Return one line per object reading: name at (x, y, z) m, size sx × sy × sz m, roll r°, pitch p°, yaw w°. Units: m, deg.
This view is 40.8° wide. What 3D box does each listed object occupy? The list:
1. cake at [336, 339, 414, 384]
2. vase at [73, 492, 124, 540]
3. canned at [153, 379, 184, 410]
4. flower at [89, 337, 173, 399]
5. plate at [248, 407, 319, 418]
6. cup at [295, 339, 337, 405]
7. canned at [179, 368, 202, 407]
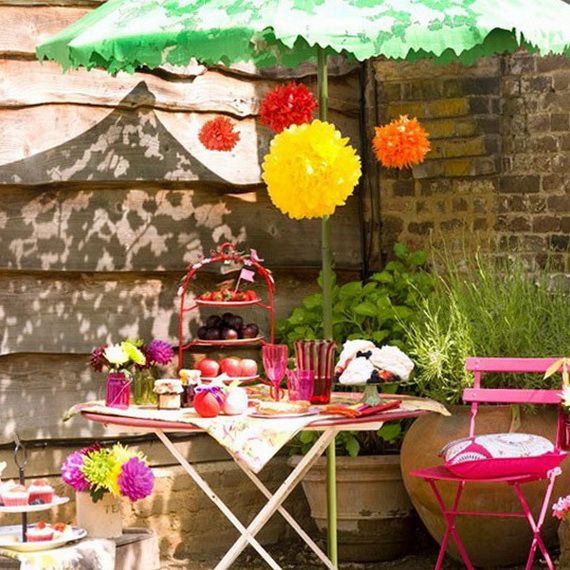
cake at (0.345, 0.278, 2.967) m, size 0.272 × 0.157 × 0.222 m, roll 1°, pitch 2°, yaw 27°
vase at (-0.807, 0.991, 3.306) m, size 0.212 × 0.191 × 0.198 m, roll -14°, pitch -18°, yaw 30°
canned at (-0.429, 0.404, 2.857) m, size 0.124 × 0.103 × 0.111 m, roll 1°, pitch -6°, yaw -19°
flower at (-0.620, 0.287, 3.241) m, size 0.415 × 0.316 × 0.350 m, roll 2°, pitch -7°, yaw -27°
plate at (-0.001, 0.447, 2.704) m, size 0.245 × 0.027 × 0.168 m, roll -3°, pitch 1°, yaw -5°
cup at (0.126, 0.322, 2.883) m, size 0.256 × 0.261 × 0.221 m, roll 0°, pitch -3°, yaw -7°
canned at (-0.381, 0.398, 2.940) m, size 0.101 × 0.136 × 0.100 m, roll -7°, pitch -11°, yaw 26°
